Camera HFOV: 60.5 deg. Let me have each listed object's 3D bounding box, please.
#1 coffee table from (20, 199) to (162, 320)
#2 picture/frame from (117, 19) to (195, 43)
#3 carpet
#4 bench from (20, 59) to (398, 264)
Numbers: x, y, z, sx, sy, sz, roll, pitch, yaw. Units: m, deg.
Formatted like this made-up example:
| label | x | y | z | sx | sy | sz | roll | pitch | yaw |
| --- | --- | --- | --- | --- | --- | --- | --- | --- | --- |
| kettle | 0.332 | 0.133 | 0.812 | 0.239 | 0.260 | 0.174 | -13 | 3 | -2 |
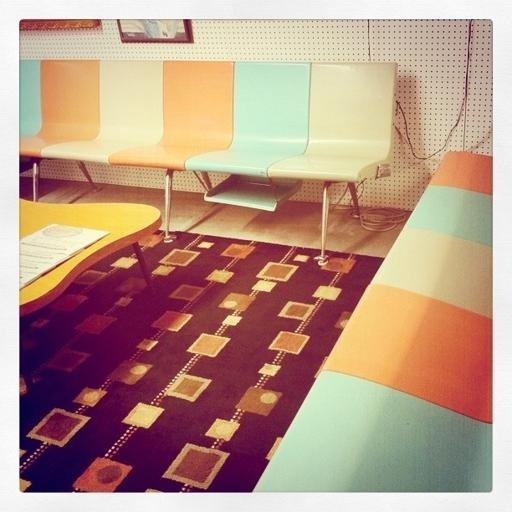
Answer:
| label | x | y | z | sx | sy | sz | roll | pitch | yaw |
| --- | --- | --- | --- | --- | --- | --- | --- | --- | --- |
| coffee table | -0.578 | 0.023 | 1.515 | 0.437 | 0.134 | 0.557 | 11 | 46 | 40 |
| picture/frame | -0.573 | -1.172 | 2.302 | 0.471 | 0.107 | 0.301 | 8 | 23 | 23 |
| carpet | -0.202 | 0.300 | 1.295 | 0.679 | 0.003 | 0.672 | 8 | 36 | 23 |
| bench | -0.258 | -0.543 | 2.276 | 1.857 | 0.891 | 0.659 | 10 | 22 | 26 |
